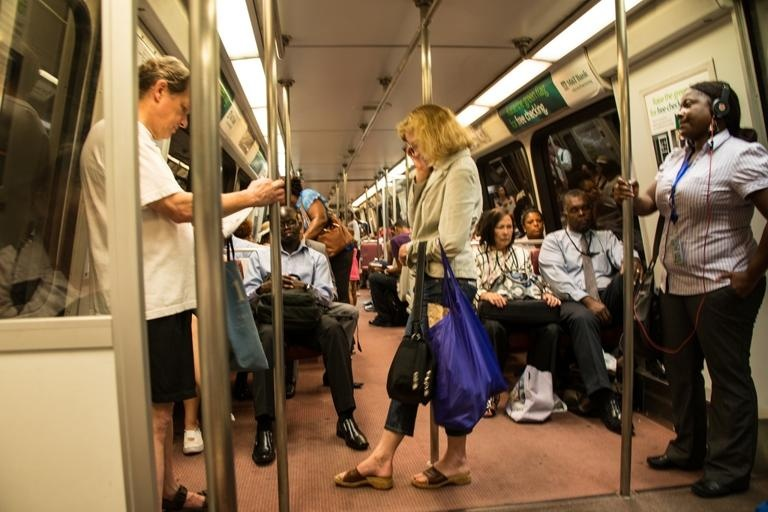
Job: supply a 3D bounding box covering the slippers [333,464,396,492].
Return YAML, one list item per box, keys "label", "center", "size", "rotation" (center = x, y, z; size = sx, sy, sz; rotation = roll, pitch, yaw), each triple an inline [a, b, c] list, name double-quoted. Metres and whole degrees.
- label: "slippers"
  center: [-0.142, 1.487, 3.489]
  size: [0.368, 0.131, 0.151]
  rotation: [2, -8, 1]

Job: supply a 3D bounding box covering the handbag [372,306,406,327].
- label: "handbag"
  center: [0.107, 1.017, 8.659]
  size: [0.591, 0.463, 0.241]
  rotation: [1, -6, 0]

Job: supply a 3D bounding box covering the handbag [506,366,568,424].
- label: "handbag"
  center: [1.312, 1.235, 4.674]
  size: [0.590, 0.454, 0.401]
  rotation: [6, -14, -27]

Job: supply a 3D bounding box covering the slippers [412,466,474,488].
- label: "slippers"
  center: [0.383, 1.467, 3.533]
  size: [0.311, 0.102, 0.157]
  rotation: [2, -14, -4]

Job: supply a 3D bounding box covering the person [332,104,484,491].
- label: "person"
  center: [0.181, 0.221, 3.634]
  size: [0.936, 2.566, 0.628]
  rotation: [-1, -7, 15]

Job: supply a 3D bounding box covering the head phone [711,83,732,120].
- label: "head phone"
  center: [2.269, -1.042, 3.526]
  size: [0.093, 0.256, 0.253]
  rotation: [13, 8, 26]

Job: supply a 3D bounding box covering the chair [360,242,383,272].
- label: "chair"
  center: [-0.339, -0.021, 12.566]
  size: [0.676, 0.997, 0.634]
  rotation: [-1, -7, -1]

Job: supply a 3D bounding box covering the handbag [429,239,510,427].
- label: "handbag"
  center: [0.536, 0.539, 3.395]
  size: [0.454, 1.034, 0.483]
  rotation: [-18, -15, 39]

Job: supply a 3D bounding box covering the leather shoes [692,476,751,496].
- label: "leather shoes"
  center: [2.150, 1.458, 3.328]
  size: [0.376, 0.116, 0.102]
  rotation: [-1, 5, -6]

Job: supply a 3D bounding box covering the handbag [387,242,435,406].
- label: "handbag"
  center: [0.205, 0.411, 3.258]
  size: [0.252, 0.966, 0.351]
  rotation: [3, 6, 36]
